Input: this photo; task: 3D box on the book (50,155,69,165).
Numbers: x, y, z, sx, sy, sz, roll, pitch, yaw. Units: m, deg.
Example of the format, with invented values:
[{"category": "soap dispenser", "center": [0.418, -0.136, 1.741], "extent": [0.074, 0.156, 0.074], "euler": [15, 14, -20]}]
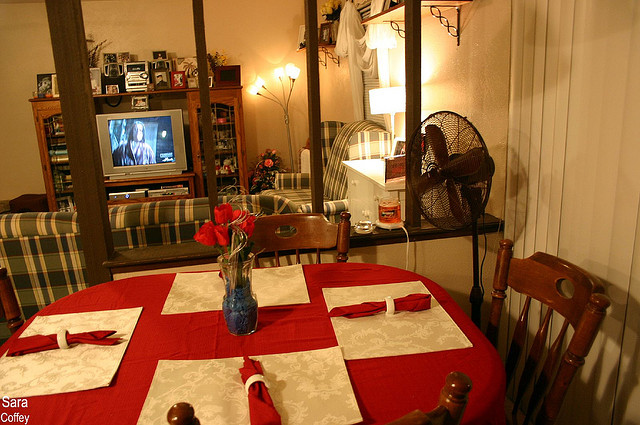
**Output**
[{"category": "book", "center": [-3.497, -0.716, 6.220], "extent": [0.242, 0.131, 0.120], "euler": [-2, 14, 10]}]

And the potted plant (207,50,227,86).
[{"category": "potted plant", "center": [-1.423, -2.086, 6.446], "extent": [0.258, 0.428, 0.520], "euler": [-7, 13, -9]}]

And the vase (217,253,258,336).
[{"category": "vase", "center": [-0.317, 0.314, 1.805], "extent": [0.146, 0.310, 0.148], "euler": [-5, 13, -5]}]

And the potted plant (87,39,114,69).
[{"category": "potted plant", "center": [-3.036, -2.217, 6.399], "extent": [0.346, 0.390, 0.179], "euler": [-8, 14, -15]}]

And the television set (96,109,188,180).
[{"category": "television set", "center": [-2.457, -0.942, 6.399], "extent": [1.115, 0.878, 0.108], "euler": [-7, 14, -9]}]

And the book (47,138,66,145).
[{"category": "book", "center": [-3.536, -0.954, 6.163], "extent": [0.075, 0.083, 0.197], "euler": [8, 18, 43]}]

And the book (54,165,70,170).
[{"category": "book", "center": [-3.521, -0.612, 6.268], "extent": [0.062, 0.066, 0.161], "euler": [7, 18, 41]}]

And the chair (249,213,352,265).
[{"category": "chair", "center": [-0.097, 0.155, 2.562], "extent": [0.557, 0.372, 0.407], "euler": [-4, 13, 3]}]

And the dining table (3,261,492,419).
[{"category": "dining table", "center": [-0.285, 0.403, 1.792], "extent": [1.815, 0.440, 0.798], "euler": [-4, 13, 1]}]

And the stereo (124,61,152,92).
[{"category": "stereo", "center": [-2.511, -1.883, 6.513], "extent": [0.357, 0.522, 0.396], "euler": [-2, 5, -21]}]

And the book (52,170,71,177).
[{"category": "book", "center": [-3.552, -0.559, 6.325], "extent": [0.203, 0.099, 0.157], "euler": [-9, 14, -17]}]
